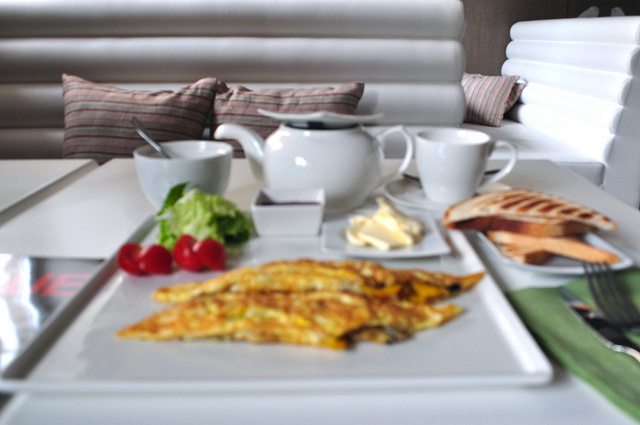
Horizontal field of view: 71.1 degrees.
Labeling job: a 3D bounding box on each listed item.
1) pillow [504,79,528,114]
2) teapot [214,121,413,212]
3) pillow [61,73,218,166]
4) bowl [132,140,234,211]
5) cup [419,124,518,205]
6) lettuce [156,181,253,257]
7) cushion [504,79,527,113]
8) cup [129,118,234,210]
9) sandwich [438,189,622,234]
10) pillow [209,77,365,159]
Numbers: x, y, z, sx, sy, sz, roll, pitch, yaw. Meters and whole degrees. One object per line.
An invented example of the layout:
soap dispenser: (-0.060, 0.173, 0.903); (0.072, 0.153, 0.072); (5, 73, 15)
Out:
pillow: (1.253, -0.709, 2.803); (0.044, 0.177, 0.178); (29, -5, -17)
teapot: (-0.006, -0.107, 0.991); (0.418, 0.168, 0.239); (3, 16, 13)
pillow: (-0.784, -0.388, 1.935); (0.652, 0.437, 0.216); (-1, -8, -14)
bowl: (-0.275, -0.104, 0.948); (0.179, 0.122, 0.172); (0, 14, 0)
cup: (0.306, -0.102, 1.014); (0.240, 0.149, 0.160); (0, 27, 9)
lettuce: (-0.208, -0.005, 0.860); (0.179, 0.118, 0.132); (4, 14, 23)
cushion: (1.213, -0.725, 2.804); (0.044, 0.179, 0.184); (30, -7, -15)
cup: (-0.310, -0.105, 0.942); (0.149, 0.142, 0.219); (-14, 20, -42)
sandwich: (0.363, 0.007, 0.804); (0.163, 0.044, 0.151); (-3, -4, 7)
pillow: (-0.151, -0.427, 2.089); (0.570, 0.463, 0.164); (1, -18, 3)
